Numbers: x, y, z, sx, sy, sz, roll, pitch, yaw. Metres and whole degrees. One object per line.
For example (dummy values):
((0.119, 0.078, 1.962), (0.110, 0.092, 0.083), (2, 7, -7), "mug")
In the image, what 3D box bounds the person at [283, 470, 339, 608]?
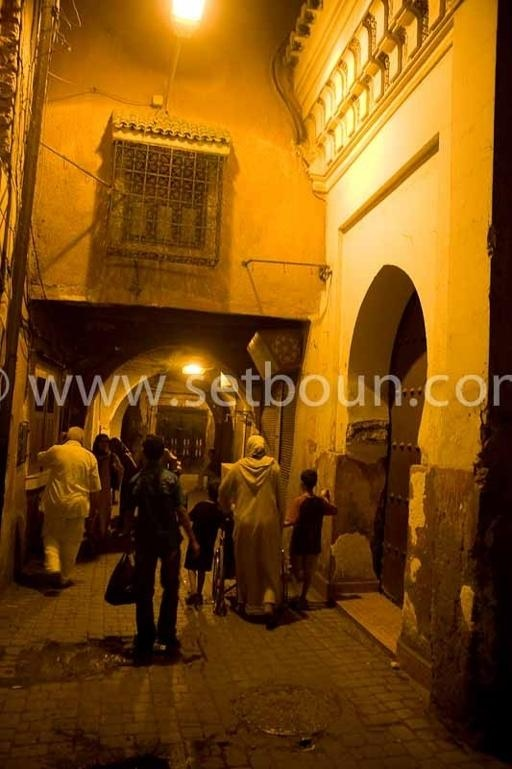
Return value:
((0.561, 1.602, 5.639), (0.459, 1.370, 1.008), (1, -8, 9), "person")

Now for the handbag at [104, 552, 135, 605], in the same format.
((-0.971, 1.438, 4.003), (0.209, 0.375, 0.203), (4, -8, -11), "handbag")

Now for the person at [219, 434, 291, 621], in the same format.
((-0.054, 1.340, 5.330), (0.620, 1.659, 0.476), (2, -8, 3), "person")
